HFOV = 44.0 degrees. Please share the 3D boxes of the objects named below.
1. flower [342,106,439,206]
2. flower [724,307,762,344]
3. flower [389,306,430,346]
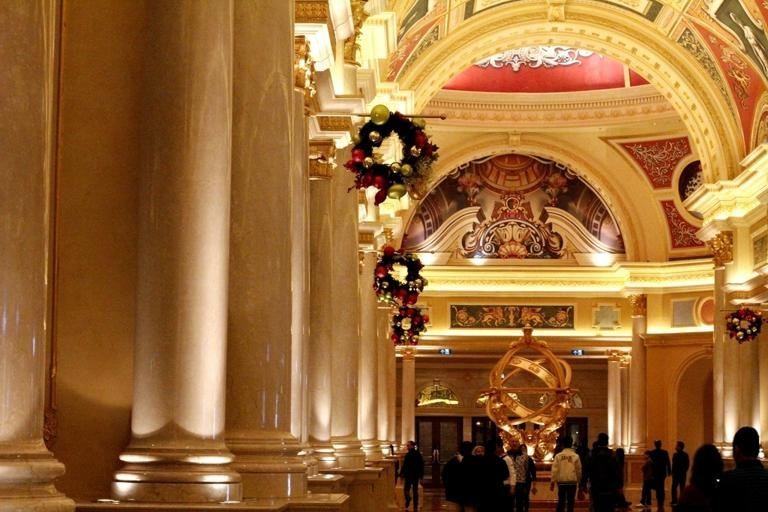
[{"bbox_3d":[0.114,-0.900,8.858,0.877,0.880,0.320,24,7,4],"label":"flower"},{"bbox_3d":[6.864,1.259,17.962,0.657,0.782,1.433,-3,-12,20],"label":"flower"},{"bbox_3d":[0.525,1.105,16.670,0.835,0.254,0.679,-20,12,-12],"label":"flower"}]
